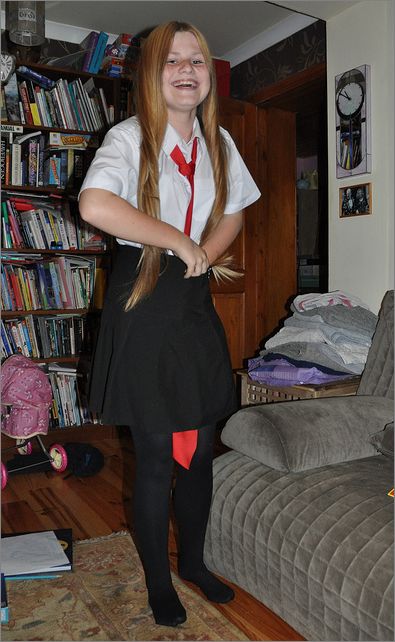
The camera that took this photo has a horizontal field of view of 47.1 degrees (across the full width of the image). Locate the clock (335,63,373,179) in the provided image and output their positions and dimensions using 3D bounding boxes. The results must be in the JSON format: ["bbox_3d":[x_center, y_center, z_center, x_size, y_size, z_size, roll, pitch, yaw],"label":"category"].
[{"bbox_3d":[0.759,-0.978,2.215,0.069,0.549,0.229,0,-4,-19],"label":"clock"}]
